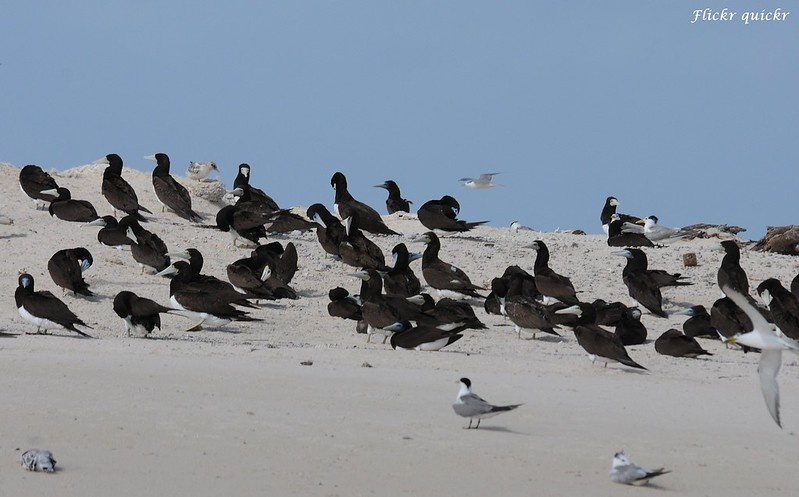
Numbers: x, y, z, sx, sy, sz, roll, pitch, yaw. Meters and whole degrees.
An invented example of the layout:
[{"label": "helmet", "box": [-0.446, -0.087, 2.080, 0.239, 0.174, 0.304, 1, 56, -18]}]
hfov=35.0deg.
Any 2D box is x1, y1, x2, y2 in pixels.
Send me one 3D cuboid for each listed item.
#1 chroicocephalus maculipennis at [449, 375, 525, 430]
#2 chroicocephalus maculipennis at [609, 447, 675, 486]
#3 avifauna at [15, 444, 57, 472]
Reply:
[{"label": "chroicocephalus maculipennis", "box": [1.443, 2.750, 22.562, 1.046, 0.878, 0.855, 1, 2, 9]}, {"label": "chroicocephalus maculipennis", "box": [4.157, 3.732, 21.540, 1.159, 0.560, 0.434, -3, -8, 15]}, {"label": "avifauna", "box": [-5.979, 3.484, 20.919, 0.621, 0.346, 0.338, 0, 2, -7]}]
